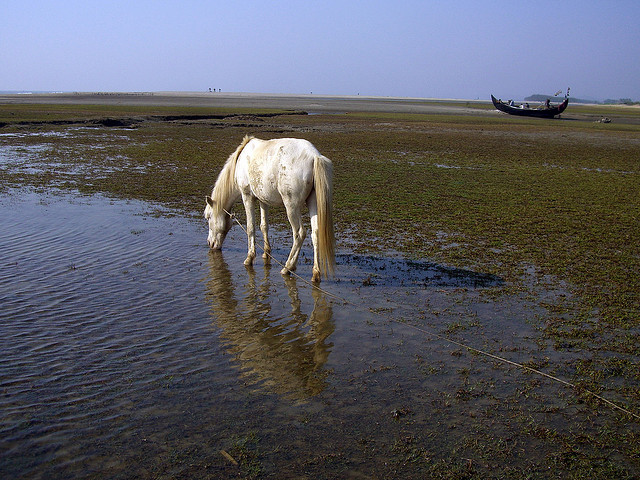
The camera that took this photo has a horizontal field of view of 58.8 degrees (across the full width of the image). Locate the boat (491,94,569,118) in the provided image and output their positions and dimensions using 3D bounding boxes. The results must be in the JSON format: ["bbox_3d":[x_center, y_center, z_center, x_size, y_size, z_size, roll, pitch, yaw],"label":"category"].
[{"bbox_3d":[27.514,-17.766,75.210,3.047,2.696,12.623,-3,19,-13],"label":"boat"}]

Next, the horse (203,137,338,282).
[{"bbox_3d":[-1.157,-0.684,12.036,1.008,2.743,4.303,-5,8,-42],"label":"horse"}]
